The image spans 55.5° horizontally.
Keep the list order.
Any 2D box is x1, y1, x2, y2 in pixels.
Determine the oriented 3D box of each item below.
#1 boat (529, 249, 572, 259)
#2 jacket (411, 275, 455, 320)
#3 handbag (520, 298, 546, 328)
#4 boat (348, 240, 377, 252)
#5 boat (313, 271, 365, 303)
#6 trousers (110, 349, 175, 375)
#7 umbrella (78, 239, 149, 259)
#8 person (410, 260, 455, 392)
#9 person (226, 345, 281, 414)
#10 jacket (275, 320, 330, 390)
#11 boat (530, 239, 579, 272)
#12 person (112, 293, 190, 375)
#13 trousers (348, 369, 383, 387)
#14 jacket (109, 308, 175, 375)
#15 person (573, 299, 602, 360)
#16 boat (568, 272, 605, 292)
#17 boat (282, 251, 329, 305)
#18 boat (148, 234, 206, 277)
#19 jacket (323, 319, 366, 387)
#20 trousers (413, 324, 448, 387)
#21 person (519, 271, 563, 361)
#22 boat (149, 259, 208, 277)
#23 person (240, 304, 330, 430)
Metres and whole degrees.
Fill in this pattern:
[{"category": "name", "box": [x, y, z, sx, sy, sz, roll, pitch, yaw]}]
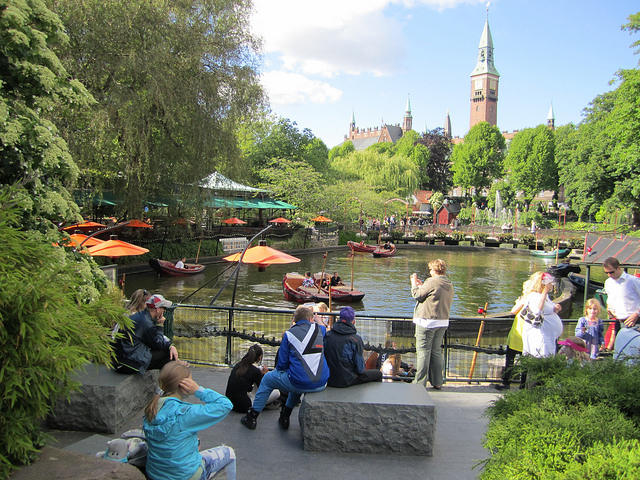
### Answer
[{"category": "boat", "box": [17.186, 1.137, 45.389, 3.068, 0.781, 0.922, 2, 2, -1]}, {"category": "jacket", "box": [1.941, 0.897, 10.865, 0.686, 0.798, 0.605, -15, 22, -29]}, {"category": "handbag", "box": [3.517, 1.200, 10.071, 0.424, 0.470, 0.453, 6, -1, 32]}, {"category": "boat", "box": [2.975, 0.507, 46.237, 2.628, 0.849, 0.804, 11, 15, -37]}, {"category": "boat", "box": [0.590, 1.909, 26.109, 0.959, 0.714, 2.901, 2, 9, -18]}, {"category": "trousers", "box": [-2.679, 1.787, 9.233, 0.700, 0.257, 0.492, -6, 7, -31]}, {"category": "umbrella", "box": [-7.224, 0.376, 20.971, 1.630, 0.711, 1.712, 6, 3, 38]}, {"category": "person", "box": [1.972, 1.526, 10.817, 0.716, 2.353, 0.497, 0, 3, -15]}, {"category": "person", "box": [-1.042, 2.208, 9.825, 0.690, 1.013, 0.842, 10, 7, 42]}, {"category": "jacket", "box": [-0.297, 1.785, 9.188, 0.721, 1.022, 0.974, 0, -9, -20]}, {"category": "boat", "box": [16.664, 1.047, 43.049, 1.733, 2.065, 6.557, 2, 2, -3]}, {"category": "person", "box": [-2.585, 1.504, 9.586, 1.336, 1.250, 0.729, 8, -1, -44]}, {"category": "trousers", "box": [0.731, 2.081, 9.307, 0.377, 0.123, 0.218, -5, 3, -31]}, {"category": "jacket", "box": [-2.795, 1.540, 9.460, 0.719, 0.931, 1.266, 11, 5, 32]}, {"category": "person", "box": [5.299, 1.712, 12.083, 0.448, 1.066, 1.379, 3, 3, 24]}, {"category": "boat", "box": [11.648, 1.834, 26.750, 0.847, 0.490, 2.686, -11, 8, 0]}, {"category": "boat", "box": [-0.752, 1.877, 25.220, 1.037, 2.144, 3.147, 2, 1, -20]}, {"category": "boat", "box": [-6.643, 0.804, 28.869, 0.970, 1.784, 3.049, 8, 0, 36]}, {"category": "jacket", "box": [0.407, 1.657, 9.207, 0.727, 1.051, 0.793, 1, 3, 19]}, {"category": "trousers", "box": [1.895, 2.052, 10.843, 0.409, 1.131, 0.787, 4, 4, 40]}, {"category": "person", "box": [3.683, 1.394, 10.093, 0.568, 1.880, 0.723, -1, 28, 24]}, {"category": "boat", "box": [-6.808, 1.245, 28.645, 0.910, 0.883, 3.001, 3, 3, 31]}, {"category": "person", "box": [-0.437, 1.911, 9.057, 1.147, 1.876, 0.449, 3, 4, 25]}]
